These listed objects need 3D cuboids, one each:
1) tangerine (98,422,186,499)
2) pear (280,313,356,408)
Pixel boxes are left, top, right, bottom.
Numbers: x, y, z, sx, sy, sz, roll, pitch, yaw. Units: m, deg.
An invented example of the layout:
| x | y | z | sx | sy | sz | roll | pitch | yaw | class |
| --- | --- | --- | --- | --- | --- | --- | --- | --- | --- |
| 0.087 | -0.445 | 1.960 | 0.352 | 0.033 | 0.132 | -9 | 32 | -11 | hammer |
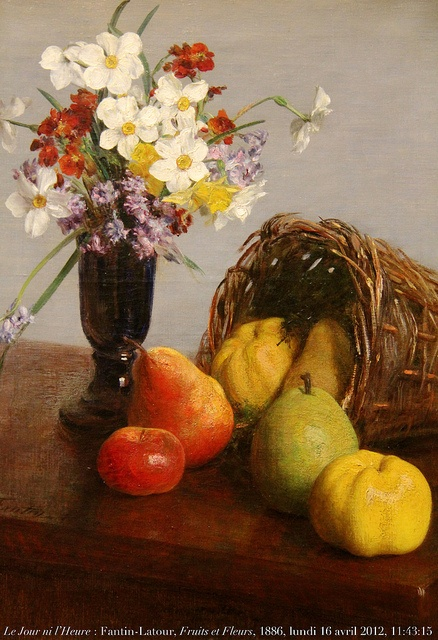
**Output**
| x | y | z | sx | sy | sz | roll | pitch | yaw | class |
| --- | --- | --- | --- | --- | --- | --- | --- | --- | --- |
| -0.065 | 0.122 | 0.563 | 0.071 | 0.054 | 0.065 | 2 | -1 | 26 | tangerine |
| 0.110 | 0.041 | 0.663 | 0.054 | 0.043 | 0.085 | 5 | 64 | 35 | pear |
